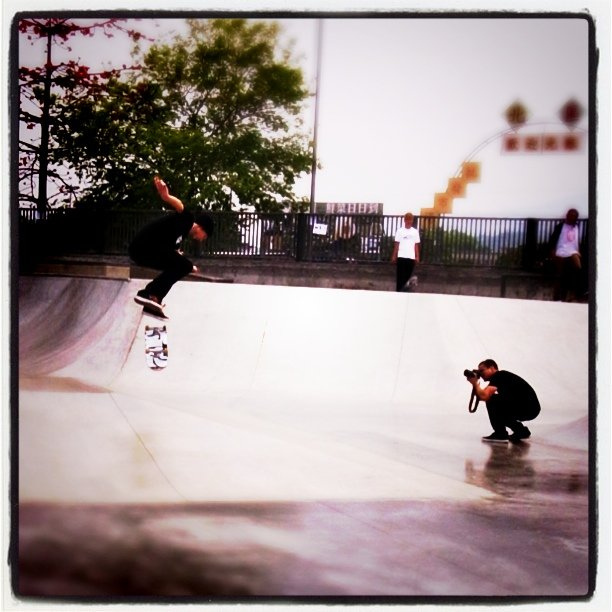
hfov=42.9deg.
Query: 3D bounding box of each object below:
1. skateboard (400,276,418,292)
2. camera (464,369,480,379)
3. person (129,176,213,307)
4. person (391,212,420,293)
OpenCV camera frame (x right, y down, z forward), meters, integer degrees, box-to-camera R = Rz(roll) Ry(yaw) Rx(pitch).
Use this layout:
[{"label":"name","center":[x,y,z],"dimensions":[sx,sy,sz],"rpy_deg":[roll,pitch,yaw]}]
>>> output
[{"label":"skateboard","center":[1.545,-0.311,11.628],"dimensions":[0.212,0.233,0.052],"rpy_deg":[-13,2,-19]},{"label":"camera","center":[2.179,0.892,10.270],"dimensions":[0.132,0.061,0.136],"rpy_deg":[-3,7,-20]},{"label":"person","center":[-1.858,-0.843,10.656],"dimensions":[0.974,1.345,1.307],"rpy_deg":[24,-19,-13]},{"label":"person","center":[1.455,-0.802,11.534],"dimensions":[0.369,1.174,0.238],"rpy_deg":[5,7,5]}]
